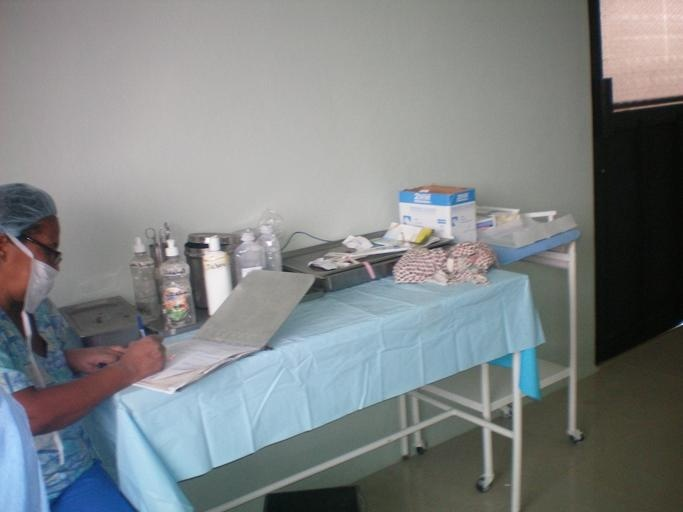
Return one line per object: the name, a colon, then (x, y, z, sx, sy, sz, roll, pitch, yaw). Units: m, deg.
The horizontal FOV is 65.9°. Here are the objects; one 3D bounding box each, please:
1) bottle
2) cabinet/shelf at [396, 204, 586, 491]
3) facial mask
bottle: (-0.484, 0.075, 1.883, 0.475, 0.345, 0.354, -5, 17, -32)
cabinet/shelf: (0.718, 0.472, 2.864, 0.964, 1.456, 0.829, -13, 13, -31)
facial mask: (-0.879, 0.055, 1.525, 0.102, 0.193, 0.132, -2, 16, -17)
